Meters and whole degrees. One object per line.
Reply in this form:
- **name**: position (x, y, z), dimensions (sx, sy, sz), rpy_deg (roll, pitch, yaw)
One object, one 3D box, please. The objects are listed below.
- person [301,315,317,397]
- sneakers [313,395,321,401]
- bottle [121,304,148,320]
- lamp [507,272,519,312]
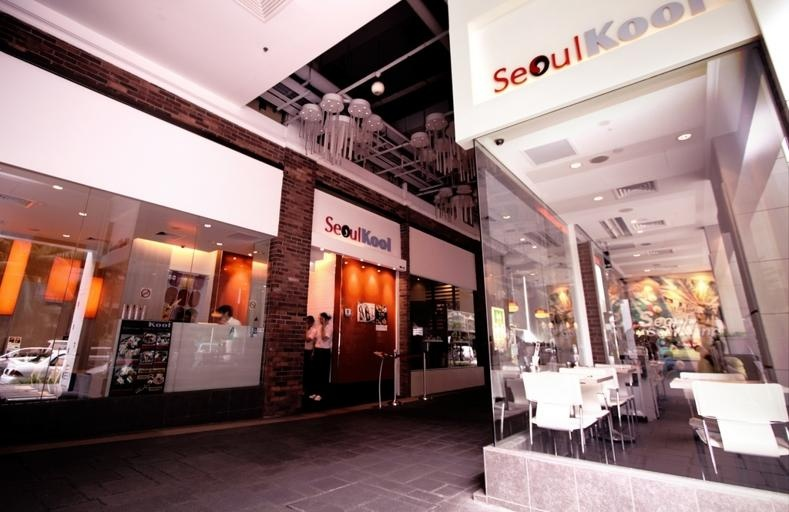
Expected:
- **person**: position (-1.935, 2.316, 9.988), dimensions (0.243, 1.593, 0.573), rpy_deg (5, -7, -12)
- **sneakers**: position (-1.655, 3.056, 9.452), dimensions (0.092, 0.061, 0.144), rpy_deg (0, 0, 11)
- **bottle**: position (-4.211, 0.907, 7.134), dimensions (0.059, 0.236, 0.327), rpy_deg (-2, -7, 39)
- **lamp**: position (1.587, 0.504, 5.954), dimensions (0.097, 0.550, 0.355), rpy_deg (0, -7, 29)
